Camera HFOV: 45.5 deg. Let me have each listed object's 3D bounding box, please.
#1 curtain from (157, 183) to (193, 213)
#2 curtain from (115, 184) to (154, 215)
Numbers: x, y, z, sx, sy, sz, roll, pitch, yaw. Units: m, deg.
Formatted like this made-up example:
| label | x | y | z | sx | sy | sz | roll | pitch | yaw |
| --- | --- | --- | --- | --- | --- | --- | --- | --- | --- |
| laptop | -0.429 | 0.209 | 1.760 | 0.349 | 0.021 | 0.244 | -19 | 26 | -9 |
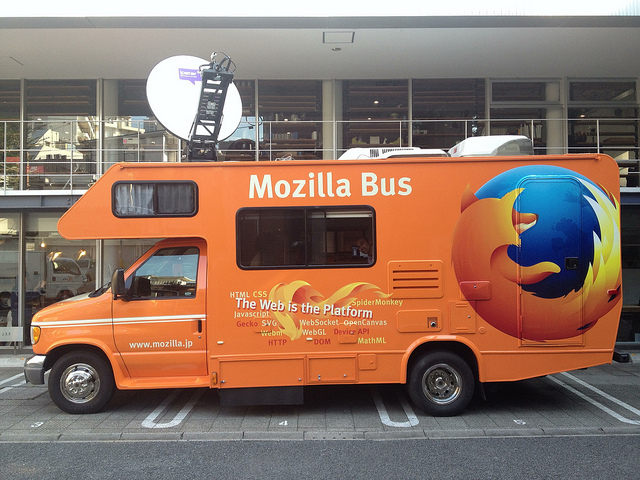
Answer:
| label | x | y | z | sx | sy | sz | roll | pitch | yaw |
| --- | --- | --- | --- | --- | --- | --- | --- | --- | --- |
| curtain | -2.475 | -0.736 | 12.941 | 0.479 | 0.431 | 0.040 | 0 | 1 | -1 |
| curtain | -3.146 | -0.684 | 12.908 | 0.505 | 0.441 | 0.052 | 0 | 1 | -2 |
